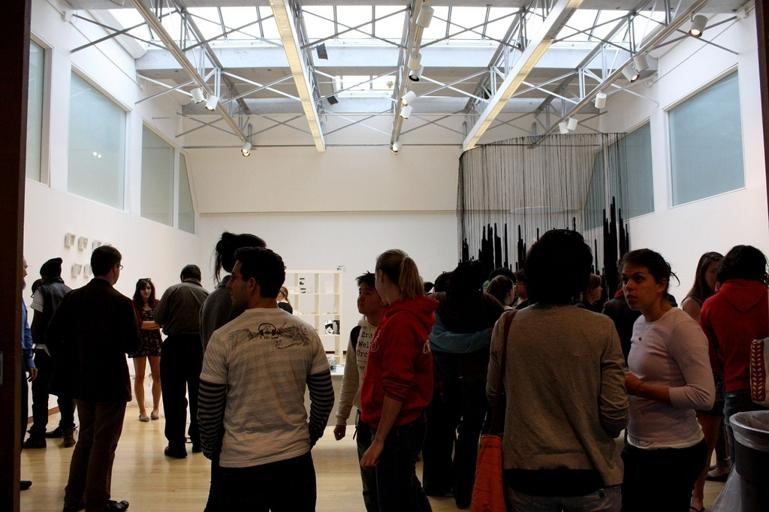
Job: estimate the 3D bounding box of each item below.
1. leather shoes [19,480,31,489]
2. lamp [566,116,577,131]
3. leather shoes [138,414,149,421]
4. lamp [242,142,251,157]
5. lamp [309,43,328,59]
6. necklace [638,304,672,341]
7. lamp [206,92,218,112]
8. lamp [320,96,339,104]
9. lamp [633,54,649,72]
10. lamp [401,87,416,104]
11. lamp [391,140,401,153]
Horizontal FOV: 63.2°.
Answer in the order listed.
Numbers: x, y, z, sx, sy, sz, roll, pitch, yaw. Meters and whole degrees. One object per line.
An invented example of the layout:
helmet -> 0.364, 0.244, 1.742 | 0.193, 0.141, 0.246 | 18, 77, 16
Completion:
leather shoes -> -3.525, 2.247, 6.153 | 0.087, 0.072, 0.166 | 1, -8, -27
lamp -> 3.521, -2.503, 11.873 | 0.187, 0.301, 0.546 | -4, -7, 16
leather shoes -> -3.252, 2.172, 8.450 | 0.116, 0.103, 0.193 | 1, -7, -24
lamp -> -3.062, -2.358, 13.781 | 0.226, 0.249, 0.225 | 14, -43, -19
lamp -> -1.160, -3.563, 11.006 | 0.281, 0.302, 0.256 | -2, -29, -8
necklace -> 1.856, 0.457, 4.290 | 0.126, 0.226, 0.165 | 24, -22, -13
lamp -> -2.973, -2.654, 10.782 | 0.196, 0.404, 0.553 | -1, -7, -14
lamp -> -1.197, -3.410, 13.727 | 0.213, 0.213, 0.206 | 7, 11, 18
lamp -> 3.753, -2.830, 9.201 | 0.155, 0.208, 0.233 | -4, -7, 17
lamp -> 0.377, -2.818, 10.882 | 0.265, 0.291, 0.305 | 2, -1, 23
lamp -> 0.239, -2.470, 14.183 | 0.160, 0.219, 0.227 | 3, -22, 0
